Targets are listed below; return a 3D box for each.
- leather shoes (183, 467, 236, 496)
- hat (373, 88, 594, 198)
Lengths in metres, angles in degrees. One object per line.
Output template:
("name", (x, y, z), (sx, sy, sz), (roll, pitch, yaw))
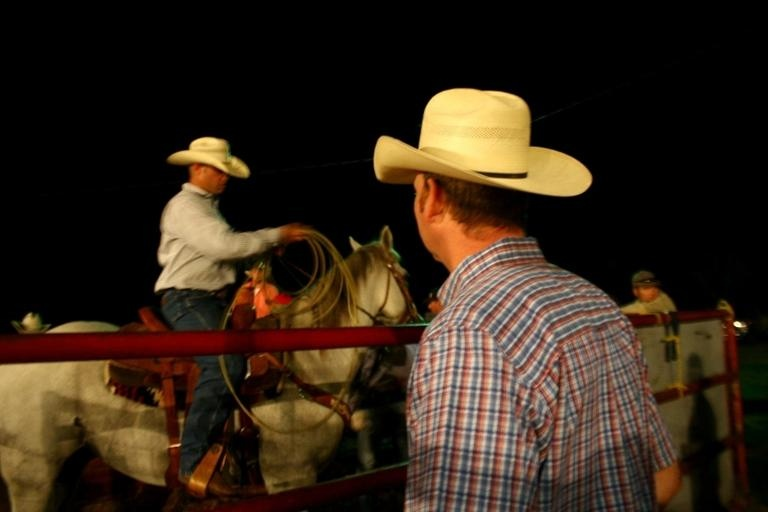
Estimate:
("leather shoes", (-1.759, 2.331, 7.091), (0.655, 0.212, 0.271), (2, 3, -20))
("hat", (0.716, -0.906, 5.561), (1.252, 0.518, 1.128), (9, 12, 31))
